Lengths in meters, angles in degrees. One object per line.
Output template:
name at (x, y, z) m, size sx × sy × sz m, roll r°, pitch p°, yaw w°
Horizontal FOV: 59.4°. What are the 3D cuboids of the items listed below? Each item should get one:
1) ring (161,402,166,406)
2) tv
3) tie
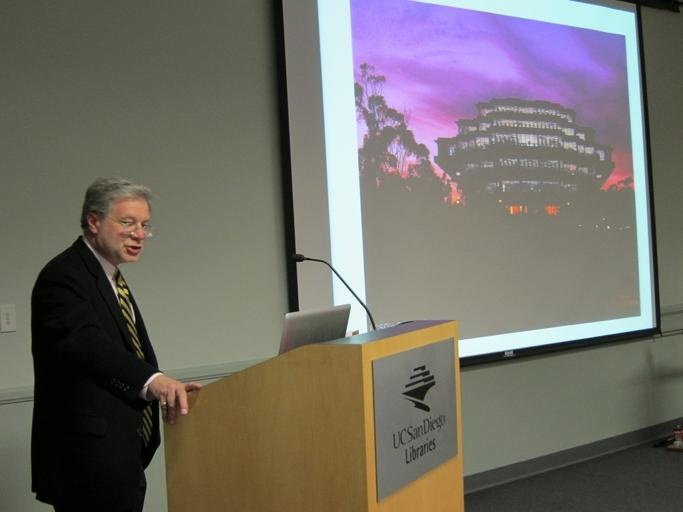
ring at (-0.711, 0.580, 2.388) m, size 0.021 × 0.006 × 0.023 m, roll -4°, pitch -40°, yaw -3°
tv at (-0.106, 0.283, 2.462) m, size 0.066 × 0.149 × 0.405 m, roll 0°, pitch 4°, yaw 40°
tie at (-0.927, 0.447, 2.664) m, size 0.072 × 0.797 × 0.079 m, roll -18°, pitch -12°, yaw 24°
